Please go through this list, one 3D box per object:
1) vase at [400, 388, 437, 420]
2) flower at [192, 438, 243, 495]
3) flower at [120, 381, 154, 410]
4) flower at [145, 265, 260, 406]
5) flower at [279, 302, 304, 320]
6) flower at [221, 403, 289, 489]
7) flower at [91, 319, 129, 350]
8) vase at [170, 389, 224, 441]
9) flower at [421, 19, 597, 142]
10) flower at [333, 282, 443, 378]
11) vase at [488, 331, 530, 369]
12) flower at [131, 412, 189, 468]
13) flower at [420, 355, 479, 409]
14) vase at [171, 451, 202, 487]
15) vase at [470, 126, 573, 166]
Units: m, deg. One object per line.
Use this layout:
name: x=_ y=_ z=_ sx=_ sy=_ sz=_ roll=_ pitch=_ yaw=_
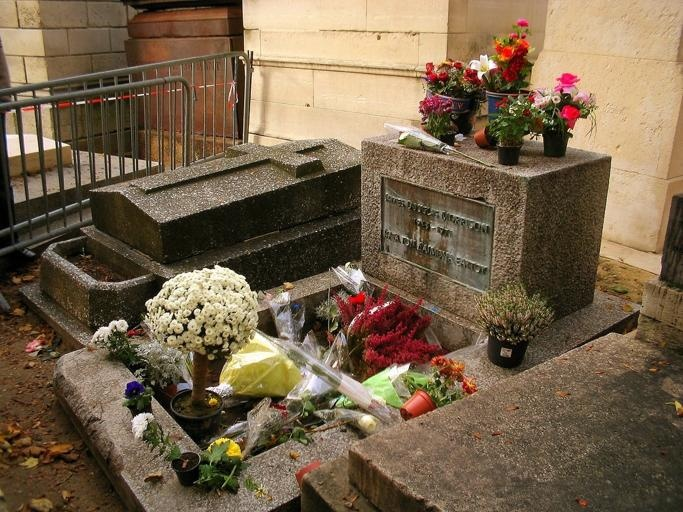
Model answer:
vase: x=0.431 y=0.842 z=2.816 sx=0.158 sy=0.165 sz=0.158 roll=-26 pitch=38 yaw=-29
flower: x=-0.626 y=1.099 z=2.630 sx=0.242 sy=0.172 sz=0.220 roll=11 pitch=26 yaw=20
flower: x=-1.243 y=0.851 z=3.027 sx=0.123 sy=0.128 sz=0.125 roll=34 pitch=59 yaw=24
flower: x=-0.869 y=0.508 z=3.187 sx=0.743 sy=1.003 sz=0.792 roll=2 pitch=-1 yaw=-39
flower: x=-0.389 y=0.450 z=4.121 sx=0.124 sy=0.066 sz=0.150 roll=-3 pitch=9 yaw=1
flower: x=-0.524 y=1.096 z=3.073 sx=0.379 sy=0.264 sz=0.181 roll=-17 pitch=55 yaw=-32
flower: x=-1.652 y=0.580 z=3.574 sx=0.236 sy=0.140 sz=0.190 roll=-15 pitch=-20 yaw=26
vase: x=-0.943 y=0.993 z=3.216 sx=0.301 sy=0.185 sz=0.317 roll=7 pitch=3 yaw=4
flower: x=1.259 y=-1.404 z=4.055 sx=0.862 sy=0.836 sz=1.558 roll=-20 pitch=34 yaw=-35
flower: x=0.372 y=0.596 z=3.914 sx=0.805 sy=0.392 sz=0.857 roll=1 pitch=25 yaw=-2
vase: x=1.113 y=0.577 z=3.354 sx=0.226 sy=0.259 sz=0.240 roll=-1 pitch=24 yaw=13
flower: x=-1.042 y=1.056 z=2.841 sx=0.271 sy=0.132 sz=0.141 roll=34 pitch=-2 yaw=25
flower: x=0.643 y=0.746 z=2.927 sx=0.177 sy=0.148 sz=0.142 roll=-33 pitch=37 yaw=-17
vase: x=-0.796 y=1.104 z=2.627 sx=0.152 sy=0.115 sz=0.153 roll=-4 pitch=37 yaw=-9
vase: x=1.352 y=-0.870 z=3.777 sx=0.675 sy=0.193 sz=0.157 roll=12 pitch=27 yaw=22
